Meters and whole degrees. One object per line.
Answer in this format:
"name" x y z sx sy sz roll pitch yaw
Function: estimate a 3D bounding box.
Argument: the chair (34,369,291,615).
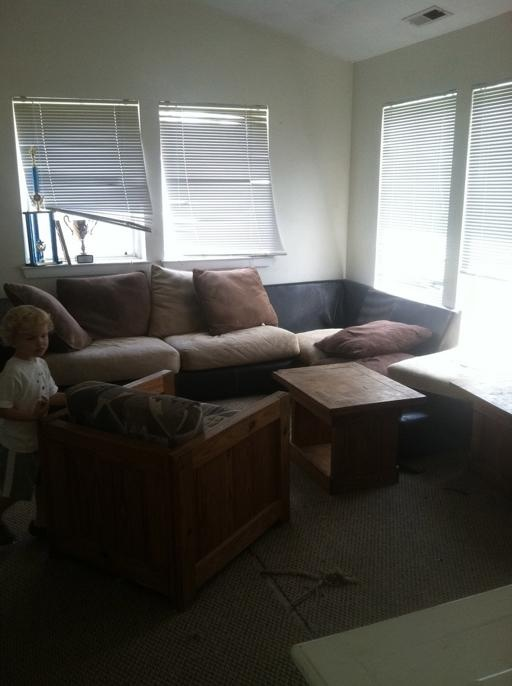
"chair" -0.275 0.471 1.783 0.614 0.573 0.695 6 13 29

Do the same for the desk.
"desk" 0.419 0.396 2.471 0.543 0.448 0.637 -2 11 -17
